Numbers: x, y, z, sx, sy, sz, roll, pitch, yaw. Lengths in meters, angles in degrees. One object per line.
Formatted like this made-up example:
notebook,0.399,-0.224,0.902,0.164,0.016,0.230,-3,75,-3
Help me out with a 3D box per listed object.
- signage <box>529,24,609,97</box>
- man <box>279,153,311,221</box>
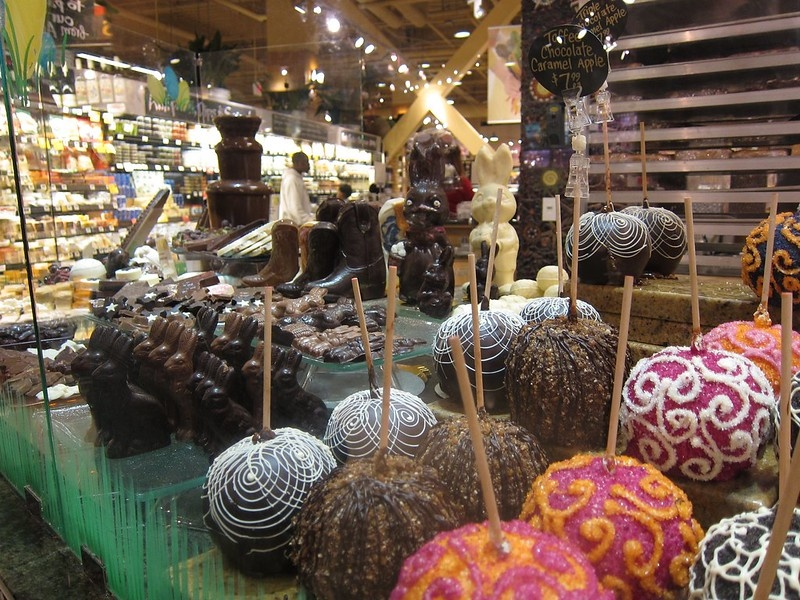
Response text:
signage,0.516,-0.746,1.915,0.063,0.221,0.274,-6,14,-42
man,-1.005,-1.114,5.942,0.321,0.689,1.620,0,11,-10
